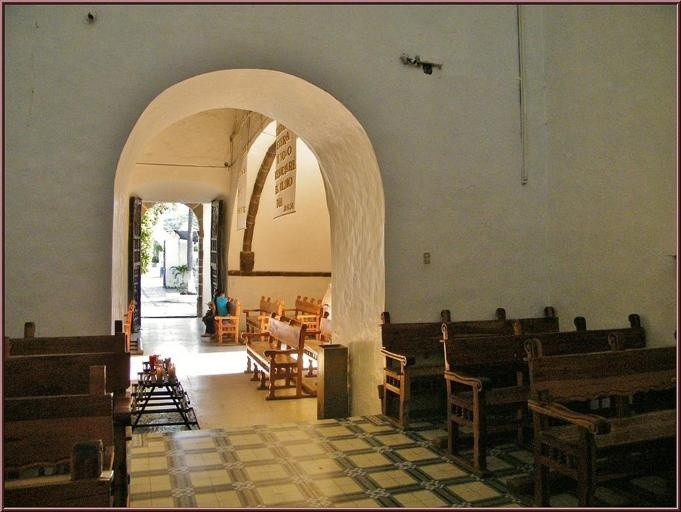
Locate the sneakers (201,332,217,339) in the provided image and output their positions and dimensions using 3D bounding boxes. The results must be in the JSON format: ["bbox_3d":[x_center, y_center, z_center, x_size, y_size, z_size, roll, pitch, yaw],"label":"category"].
[{"bbox_3d":[-3.334,2.031,13.876,0.453,0.156,0.165,3,-5,18],"label":"sneakers"}]

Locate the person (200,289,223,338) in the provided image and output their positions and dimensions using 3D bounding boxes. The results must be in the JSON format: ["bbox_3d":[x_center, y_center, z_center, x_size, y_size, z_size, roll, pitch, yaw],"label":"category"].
[{"bbox_3d":[-3.137,1.423,13.743,0.636,1.150,0.437,5,9,2],"label":"person"}]
